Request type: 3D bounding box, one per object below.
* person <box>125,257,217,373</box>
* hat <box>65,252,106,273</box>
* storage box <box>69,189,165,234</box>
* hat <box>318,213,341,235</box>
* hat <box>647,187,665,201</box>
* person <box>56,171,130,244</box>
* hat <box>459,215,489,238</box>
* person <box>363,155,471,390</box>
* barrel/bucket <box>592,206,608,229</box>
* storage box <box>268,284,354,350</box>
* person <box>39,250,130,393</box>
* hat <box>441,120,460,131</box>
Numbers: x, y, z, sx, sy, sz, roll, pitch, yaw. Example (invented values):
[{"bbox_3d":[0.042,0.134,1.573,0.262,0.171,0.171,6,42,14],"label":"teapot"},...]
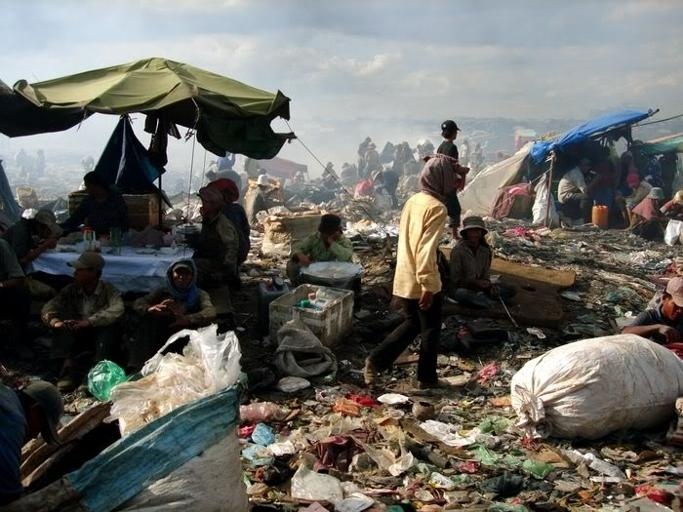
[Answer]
[{"bbox_3d":[-1.792,0.584,5.072,0.899,1.068,0.500,-8,14,-21],"label":"person"},{"bbox_3d":[-2.622,0.074,5.079,0.354,0.137,0.203,7,9,-23],"label":"hat"},{"bbox_3d":[-3.020,-0.648,7.333,1.288,0.432,0.798,1,7,5],"label":"storage box"},{"bbox_3d":[-0.150,-0.443,6.941,0.292,0.159,0.340,8,11,12],"label":"hat"},{"bbox_3d":[9.353,-1.839,14.759,0.586,0.287,0.704,5,-1,44],"label":"hat"},{"bbox_3d":[-3.411,-0.709,6.743,0.871,0.829,0.466,-6,13,-11],"label":"person"},{"bbox_3d":[1.531,-0.358,5.914,0.391,0.158,0.297,-5,-8,24],"label":"hat"},{"bbox_3d":[0.647,0.190,4.633,0.716,2.187,0.551,2,15,24],"label":"person"},{"bbox_3d":[7.469,-1.084,14.291,0.380,0.644,0.472,1,13,21],"label":"barrel/bucket"},{"bbox_3d":[-0.342,0.685,5.788,0.739,0.375,0.871,10,17,16],"label":"storage box"},{"bbox_3d":[-2.607,0.623,5.024,0.722,1.283,0.608,-10,14,-26],"label":"person"},{"bbox_3d":[1.614,-1.925,7.350,0.189,0.139,0.323,1,11,20],"label":"hat"}]
